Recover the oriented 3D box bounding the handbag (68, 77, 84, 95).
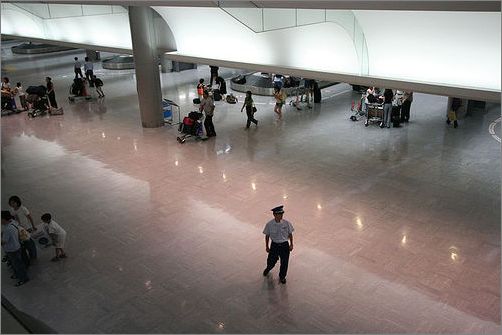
[{"bbox_3d":[-9.992,-4.565,19.576,0.751,1.073,0.808,-13,22,-24],"label":"handbag"}]

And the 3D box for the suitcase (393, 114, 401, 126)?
[{"bbox_3d":[6.446,-2.088,15.104,0.372,0.513,0.363,9,34,22],"label":"suitcase"}]

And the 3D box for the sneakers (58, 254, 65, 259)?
[{"bbox_3d":[-4.535,2.116,8.215,0.184,0.118,0.059,6,26,6],"label":"sneakers"}]

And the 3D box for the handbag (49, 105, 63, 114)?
[{"bbox_3d":[-9.891,-2.889,17.357,0.942,0.386,0.313,9,27,32],"label":"handbag"}]

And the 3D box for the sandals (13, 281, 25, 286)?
[{"bbox_3d":[-5.078,2.538,7.475,0.237,0.076,0.090,3,-25,-15],"label":"sandals"}]

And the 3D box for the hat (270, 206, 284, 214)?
[{"bbox_3d":[0.512,0.919,6.986,0.220,0.107,0.251,-15,21,-37],"label":"hat"}]

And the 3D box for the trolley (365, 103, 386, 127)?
[{"bbox_3d":[5.627,-2.396,15.585,0.992,1.166,0.979,10,25,27],"label":"trolley"}]

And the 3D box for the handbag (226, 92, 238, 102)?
[{"bbox_3d":[-1.056,-3.829,19.012,0.634,0.478,0.625,-15,22,-29],"label":"handbag"}]

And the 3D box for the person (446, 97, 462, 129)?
[{"bbox_3d":[9.141,-2.582,15.345,0.453,1.169,1.985,7,22,29],"label":"person"}]

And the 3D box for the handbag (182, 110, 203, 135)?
[{"bbox_3d":[-2.415,-1.787,14.024,0.922,1.032,0.413,-8,20,-11],"label":"handbag"}]

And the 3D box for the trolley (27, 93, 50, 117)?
[{"bbox_3d":[-11.033,-3.208,17.541,1.169,1.032,1.154,-8,12,-19],"label":"trolley"}]

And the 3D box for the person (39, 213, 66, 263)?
[{"bbox_3d":[-4.645,1.643,7.924,0.602,1.041,0.497,3,17,-13],"label":"person"}]

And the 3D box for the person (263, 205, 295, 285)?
[{"bbox_3d":[0.548,1.623,7.170,0.728,1.671,0.465,2,17,19],"label":"person"}]
